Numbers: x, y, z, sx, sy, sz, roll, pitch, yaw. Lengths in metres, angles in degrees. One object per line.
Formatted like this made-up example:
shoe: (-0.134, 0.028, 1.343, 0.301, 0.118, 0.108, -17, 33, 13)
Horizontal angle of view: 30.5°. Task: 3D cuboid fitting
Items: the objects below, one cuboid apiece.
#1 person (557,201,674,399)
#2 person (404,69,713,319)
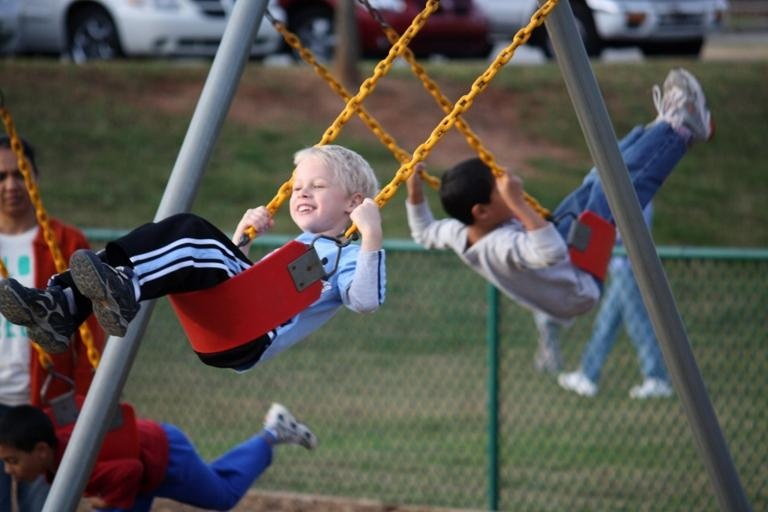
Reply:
person: (1.555, 0.312, 9.523, 0.718, 0.396, 1.453, -3, 42, 16)
person: (1.286, -0.530, 9.374, 1.906, 1.186, 1.356, -46, 22, -10)
